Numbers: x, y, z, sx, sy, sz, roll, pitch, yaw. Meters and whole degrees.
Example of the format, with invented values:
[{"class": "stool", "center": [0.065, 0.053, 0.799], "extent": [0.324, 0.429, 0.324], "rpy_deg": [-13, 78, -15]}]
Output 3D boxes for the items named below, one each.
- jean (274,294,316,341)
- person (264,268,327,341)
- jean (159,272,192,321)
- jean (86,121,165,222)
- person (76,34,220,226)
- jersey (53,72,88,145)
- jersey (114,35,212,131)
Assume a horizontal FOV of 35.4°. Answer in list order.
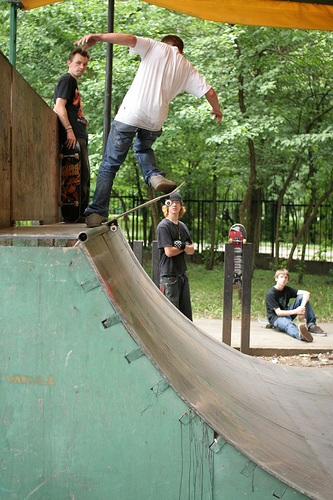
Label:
[{"class": "jean", "center": [1.831, 0.944, 7.632], "extent": [0.648, 0.605, 1.144], "rpy_deg": [-2, 9, 5]}, {"class": "person", "center": [1.926, 0.767, 7.523], "extent": [0.699, 0.936, 0.893], "rpy_deg": [0, 5, -28]}, {"class": "jean", "center": [0.129, 0.511, 5.562], "extent": [0.464, 0.522, 0.215], "rpy_deg": [0, 5, -31]}, {"class": "jean", "center": [-0.259, -0.543, 3.593], "extent": [0.399, 0.688, 0.744], "rpy_deg": [4, 5, 17]}, {"class": "person", "center": [-0.132, -0.877, 3.562], "extent": [0.510, 1.414, 1.105], "rpy_deg": [5, 5, 31]}, {"class": "jersey", "center": [-0.903, -1.338, 4.866], "extent": [0.258, 0.548, 0.518], "rpy_deg": [3, 4, 4]}, {"class": "jersey", "center": [-0.043, -1.159, 3.707], "extent": [0.660, 0.642, 0.262], "rpy_deg": [-1, 6, -42]}]
